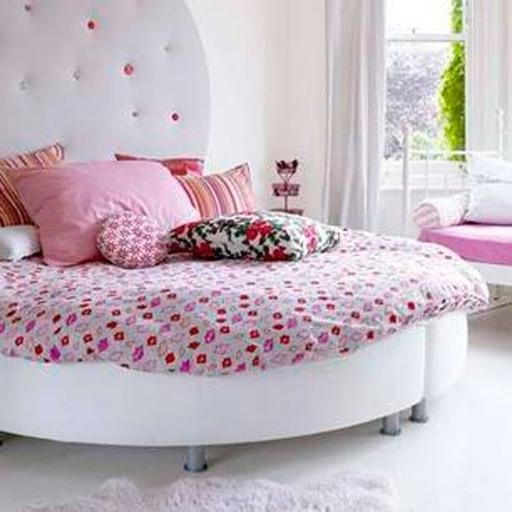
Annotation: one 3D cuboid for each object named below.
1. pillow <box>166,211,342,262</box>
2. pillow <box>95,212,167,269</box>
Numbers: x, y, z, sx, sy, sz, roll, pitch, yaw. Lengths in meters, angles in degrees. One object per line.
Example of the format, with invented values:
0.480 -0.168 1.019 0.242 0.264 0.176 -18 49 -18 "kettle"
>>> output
-0.021 -0.070 1.565 0.567 0.154 0.307 0 4 11 "pillow"
-0.390 -0.053 1.509 0.209 0.171 0.148 -1 4 -11 "pillow"
